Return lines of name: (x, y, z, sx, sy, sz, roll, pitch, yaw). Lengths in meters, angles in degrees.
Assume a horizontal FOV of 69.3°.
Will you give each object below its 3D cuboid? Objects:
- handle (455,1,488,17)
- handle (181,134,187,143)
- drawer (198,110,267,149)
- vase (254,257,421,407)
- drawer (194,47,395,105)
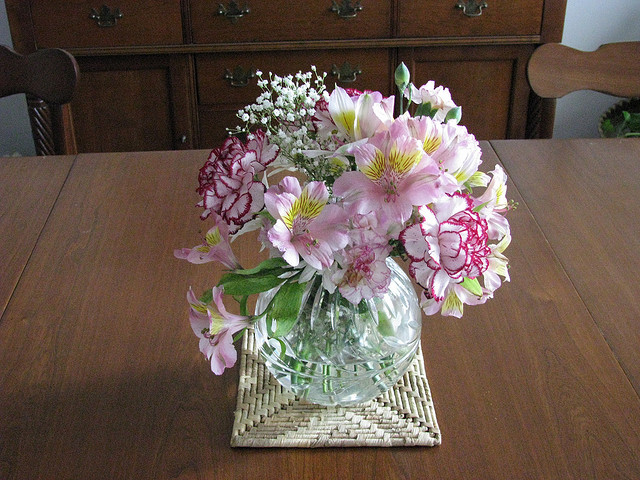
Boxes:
handle: (0.634, -0.971, 1.936, 0.102, 0.103, 0.053, 1, 25, 4)
handle: (-0.625, -0.463, 2.115, 0.027, 0.033, 0.006, 1, 24, 1)
drawer: (-0.432, -0.497, 2.097, 0.247, 0.174, 0.084, 12, 27, 22)
vase: (0.032, 0.115, 0.618, 0.157, 0.131, 0.176, -1, -3, 0)
drawer: (-0.106, -0.731, 2.057, 0.861, 0.240, 0.230, 5, 26, 9)
